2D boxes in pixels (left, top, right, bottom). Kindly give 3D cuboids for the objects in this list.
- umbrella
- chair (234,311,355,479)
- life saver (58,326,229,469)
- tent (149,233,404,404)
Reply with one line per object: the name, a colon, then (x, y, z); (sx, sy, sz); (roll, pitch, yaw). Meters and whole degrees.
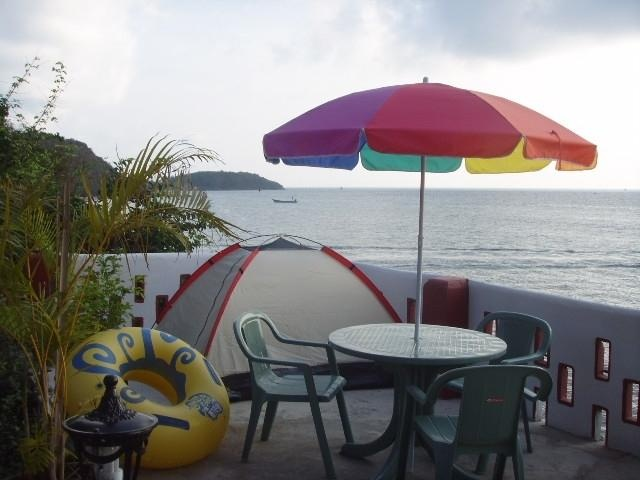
umbrella: (0.816, -0.274, 5.606); (2.701, 2.054, 2.611); (2, 0, -7)
chair: (-0.283, 1.270, 5.685); (1.104, 1.661, 1.199); (-2, -1, 15)
life saver: (-1.506, 1.354, 5.321); (1.559, 0.595, 1.602); (19, 16, -32)
tent: (-0.525, 0.658, 7.240); (1.906, 1.554, 2.054); (0, 2, -1)
